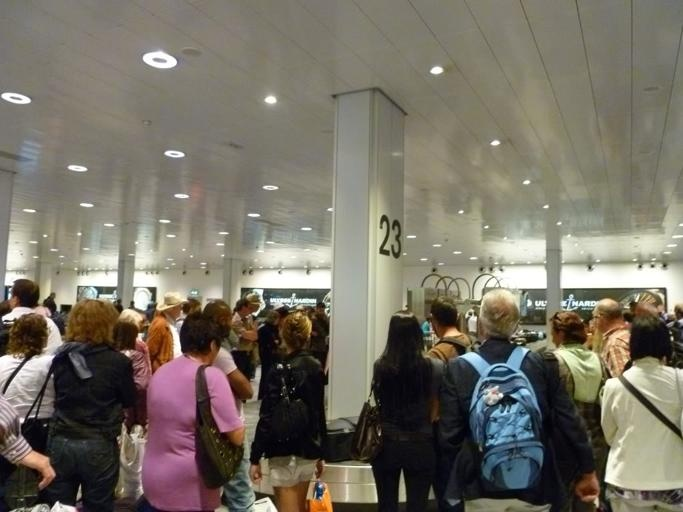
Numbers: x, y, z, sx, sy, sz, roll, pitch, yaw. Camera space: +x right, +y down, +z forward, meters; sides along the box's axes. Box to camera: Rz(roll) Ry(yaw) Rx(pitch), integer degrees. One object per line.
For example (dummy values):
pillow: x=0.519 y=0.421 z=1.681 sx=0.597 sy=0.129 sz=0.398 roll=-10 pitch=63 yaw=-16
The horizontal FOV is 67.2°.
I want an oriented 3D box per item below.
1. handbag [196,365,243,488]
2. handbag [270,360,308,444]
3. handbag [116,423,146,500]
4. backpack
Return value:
handbag: x=-0.722 y=1.010 z=3.036 sx=0.290 sy=0.714 sz=0.147 roll=3 pitch=-7 yaw=-14
handbag: x=-0.349 y=1.041 z=3.659 sx=0.207 sy=0.485 sz=0.203 roll=6 pitch=-13 yaw=-30
handbag: x=-1.984 y=1.948 z=4.857 sx=0.259 sy=0.715 sz=0.191 roll=3 pitch=10 yaw=-19
backpack: x=0.960 y=0.993 z=3.106 sx=0.450 sy=0.810 sz=0.468 roll=-7 pitch=19 yaw=7
